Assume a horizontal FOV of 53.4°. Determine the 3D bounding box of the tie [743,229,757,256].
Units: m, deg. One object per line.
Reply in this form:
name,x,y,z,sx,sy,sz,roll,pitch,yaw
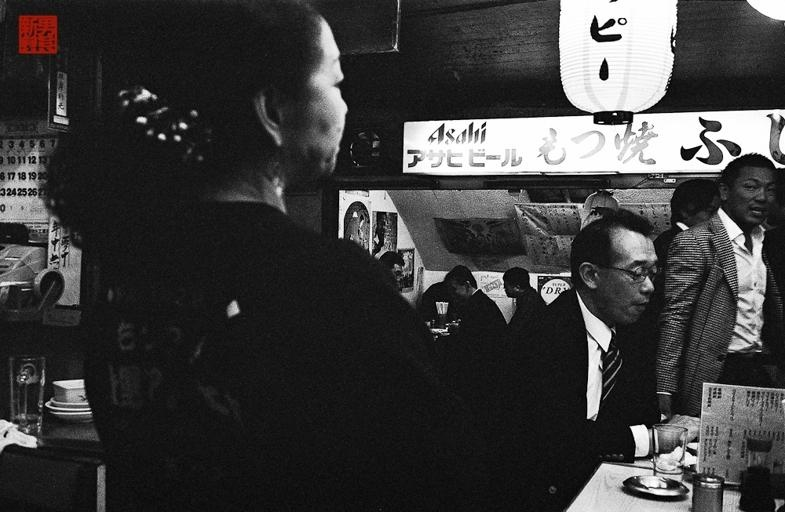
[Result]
tie,2.666,-0.095,5.764,0.121,0.185,0.147,4,4,19
